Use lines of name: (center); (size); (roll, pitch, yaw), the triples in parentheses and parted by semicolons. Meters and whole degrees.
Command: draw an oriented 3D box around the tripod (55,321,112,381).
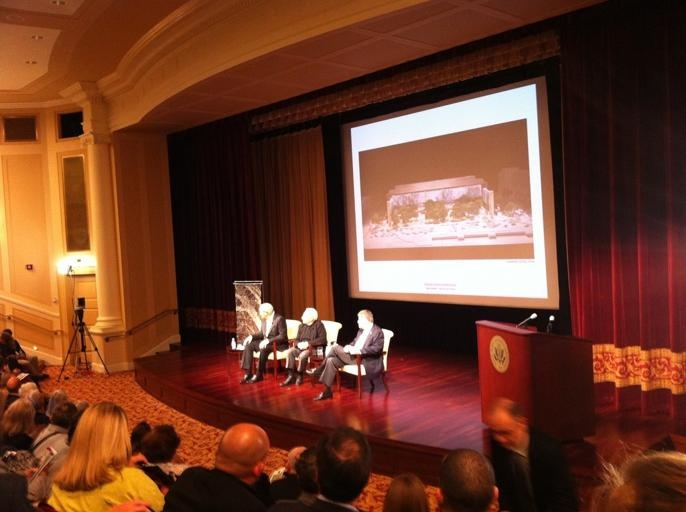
tripod: (-5.273, 1.941, 9.794); (0.872, 1.371, 0.924); (-11, -6, 35)

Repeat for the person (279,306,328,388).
person: (-0.545, 1.278, 6.883); (0.508, 1.123, 0.717); (-12, -22, 30)

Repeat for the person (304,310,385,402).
person: (-0.052, 1.338, 6.716); (1.127, 1.418, 0.746); (1, -1, -2)

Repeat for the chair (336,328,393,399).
chair: (0.435, 1.441, 6.492); (0.672, 0.722, 0.657); (-16, -21, 42)

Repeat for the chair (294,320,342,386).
chair: (-0.252, 1.325, 7.147); (0.624, 0.896, 0.605); (5, -7, -41)
